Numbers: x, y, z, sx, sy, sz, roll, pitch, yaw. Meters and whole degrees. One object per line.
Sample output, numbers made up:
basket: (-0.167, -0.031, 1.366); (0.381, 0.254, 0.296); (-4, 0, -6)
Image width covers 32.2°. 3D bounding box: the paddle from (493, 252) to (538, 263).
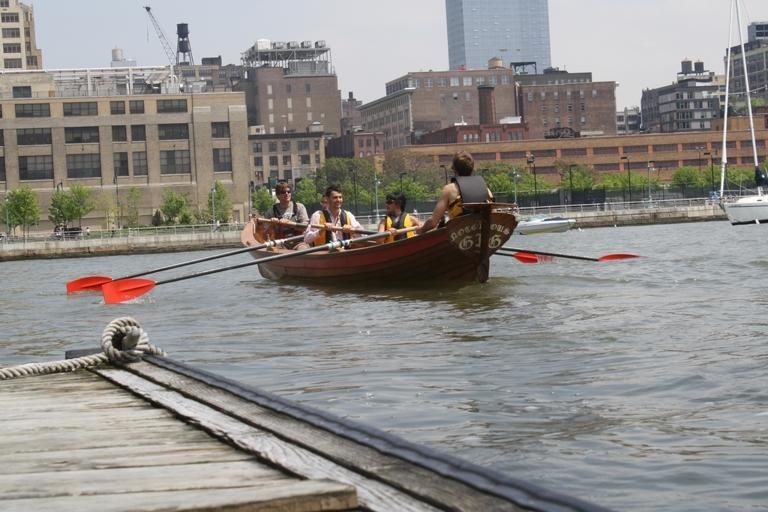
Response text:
paddle: (7.811, 0.046, 78.378); (3.318, 0.603, 0.747); (4, -2, -2)
